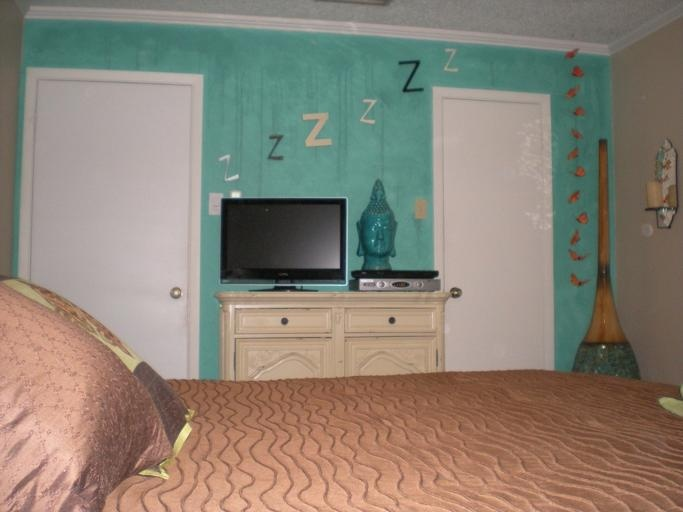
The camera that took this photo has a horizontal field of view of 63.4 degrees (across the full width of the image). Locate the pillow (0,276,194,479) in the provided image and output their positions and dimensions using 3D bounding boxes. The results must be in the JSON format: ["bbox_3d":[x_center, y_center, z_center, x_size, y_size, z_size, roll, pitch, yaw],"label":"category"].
[{"bbox_3d":[-0.612,0.337,1.341,0.470,0.113,0.366,52,4,35],"label":"pillow"}]

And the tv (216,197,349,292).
[{"bbox_3d":[-0.358,-0.079,3.308,0.576,0.412,0.157,1,0,-5],"label":"tv"}]

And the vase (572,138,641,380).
[{"bbox_3d":[1.695,0.022,3.502,0.353,1.438,0.510,2,4,32],"label":"vase"}]

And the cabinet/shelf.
[{"bbox_3d":[-0.041,0.537,3.172,1.279,0.775,0.361,0,14,-5],"label":"cabinet/shelf"}]
